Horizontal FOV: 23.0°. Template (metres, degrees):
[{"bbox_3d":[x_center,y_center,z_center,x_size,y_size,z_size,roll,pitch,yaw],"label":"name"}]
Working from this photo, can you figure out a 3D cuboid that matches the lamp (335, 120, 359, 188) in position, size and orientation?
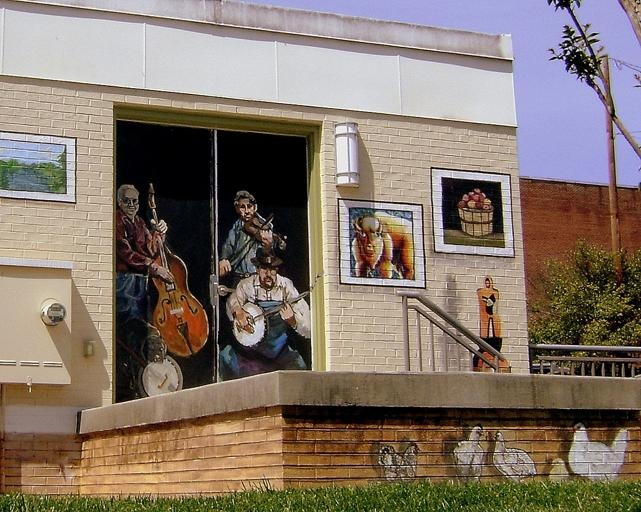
[{"bbox_3d":[0.380,-1.455,22.405,0.327,0.903,0.209,-2,-2,-2],"label":"lamp"}]
